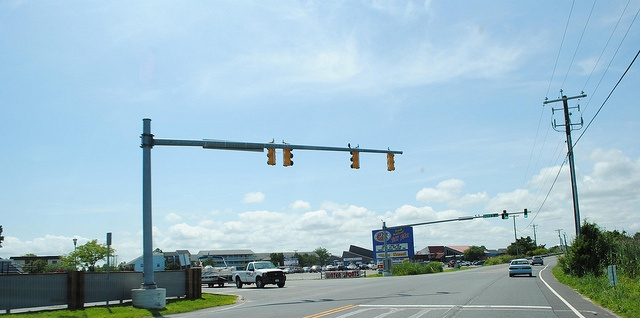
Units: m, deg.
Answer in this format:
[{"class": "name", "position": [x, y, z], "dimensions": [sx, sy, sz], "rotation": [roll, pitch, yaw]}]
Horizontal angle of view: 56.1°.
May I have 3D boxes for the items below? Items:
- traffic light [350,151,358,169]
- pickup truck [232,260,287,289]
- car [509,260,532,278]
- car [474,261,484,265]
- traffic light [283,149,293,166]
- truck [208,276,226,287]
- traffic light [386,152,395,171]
[{"class": "traffic light", "position": [3.523, 0.016, 60.685], "dimensions": [0.655, 1.776, 1.059], "rotation": [-3, -16, -5]}, {"class": "pickup truck", "position": [-7.058, 14.019, 72.190], "dimensions": [6.089, 3.597, 2.469], "rotation": [-12, -18, 26]}, {"class": "car", "position": [24.833, 13.617, 74.593], "dimensions": [2.407, 2.370, 3.014], "rotation": [-11, -17, 22]}, {"class": "car", "position": [37.303, 24.619, 140.886], "dimensions": [2.090, 1.050, 4.690], "rotation": [-8, -16, 12]}, {"class": "traffic light", "position": [-3.090, -0.161, 59.440], "dimensions": [0.722, 1.711, 0.721], "rotation": [1, -17, -18]}, {"class": "truck", "position": [-12.596, 15.224, 73.984], "dimensions": [2.288, 1.436, 2.317], "rotation": [-2, -16, -7]}, {"class": "traffic light", "position": [7.234, 0.334, 62.355], "dimensions": [0.758, 1.943, 0.552], "rotation": [7, -20, -35]}]
